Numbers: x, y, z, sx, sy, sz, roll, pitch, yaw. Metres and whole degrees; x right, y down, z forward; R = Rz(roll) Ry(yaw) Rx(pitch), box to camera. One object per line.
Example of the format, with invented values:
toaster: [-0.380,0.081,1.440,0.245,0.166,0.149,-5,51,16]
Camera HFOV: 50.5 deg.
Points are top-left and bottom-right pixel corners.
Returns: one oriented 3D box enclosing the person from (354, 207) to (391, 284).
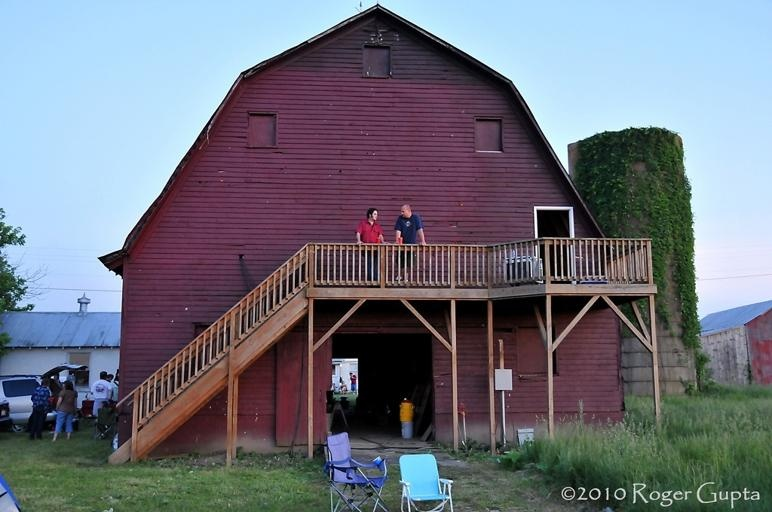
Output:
person: [-0.443,-0.289,23.853,0.767,2.175,0.860,-3,-15,12]

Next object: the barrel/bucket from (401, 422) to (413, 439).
barrel/bucket: [0.653,5.596,26.080,0.416,0.515,0.431,-1,-4,0]

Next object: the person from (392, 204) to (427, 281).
person: [0.678,-0.396,24.368,0.927,2.350,0.726,5,25,4]

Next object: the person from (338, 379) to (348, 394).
person: [-2.881,9.101,56.636,0.856,0.943,1.470,1,-1,-8]

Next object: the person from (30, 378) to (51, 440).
person: [-11.392,5.071,26.969,0.529,2.030,1.241,7,-16,-23]

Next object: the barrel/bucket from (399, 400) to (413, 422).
barrel/bucket: [0.689,5.022,26.264,0.410,0.734,0.471,1,-15,-3]
